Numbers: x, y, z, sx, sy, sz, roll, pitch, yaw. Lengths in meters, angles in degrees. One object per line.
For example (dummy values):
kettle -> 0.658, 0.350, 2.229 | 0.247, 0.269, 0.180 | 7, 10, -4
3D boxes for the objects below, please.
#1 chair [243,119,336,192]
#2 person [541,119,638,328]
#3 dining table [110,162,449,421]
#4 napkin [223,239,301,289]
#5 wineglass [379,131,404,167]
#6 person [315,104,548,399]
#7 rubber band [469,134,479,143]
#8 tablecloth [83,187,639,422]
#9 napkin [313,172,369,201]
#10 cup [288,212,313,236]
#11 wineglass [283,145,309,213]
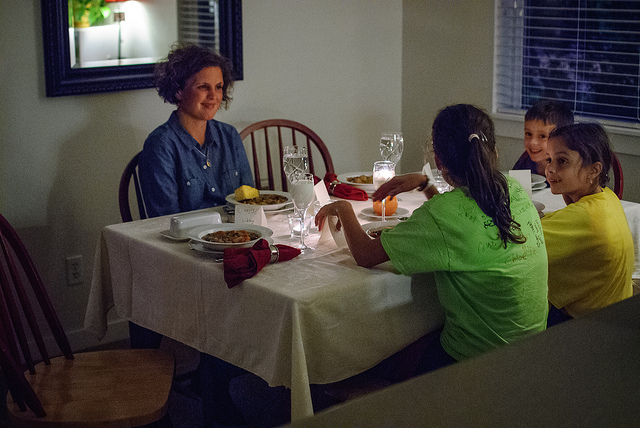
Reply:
chair -> -0.214, -0.347, 2.733 | 0.380, 0.514, 0.349 | -19, 28, -34
person -> 0.951, 0.021, 1.657 | 0.297, 0.727, 0.435 | -2, 3, 25
dining table -> -0.260, 0.184, 1.544 | 1.164, 0.284, 0.912 | -15, 24, -42
napkin -> -0.171, 0.143, 1.411 | 0.247, 0.124, 0.149 | -4, 2, -13
wineglass -> 0.345, -0.321, 2.273 | 0.097, 0.181, 0.282 | -2, 3, 14
person -> 0.538, -0.046, 1.795 | 0.638, 1.173, 0.845 | -15, 24, -42
rubber band -> 0.435, -0.213, 1.313 | 0.021, 0.016, 0.021 | 2, 14, 9
tablecloth -> -0.238, 0.258, 1.593 | 1.165, 0.512, 0.548 | -1, 3, 33
napkin -> 0.102, -0.155, 2.164 | 0.144, 0.065, 0.192 | -15, 23, -42
cup -> -0.084, 0.035, 1.684 | 0.079, 0.060, 0.080 | 0, 15, 0
wineglass -> -0.103, -0.124, 2.014 | 0.125, 0.338, 0.118 | 1, 10, 10
